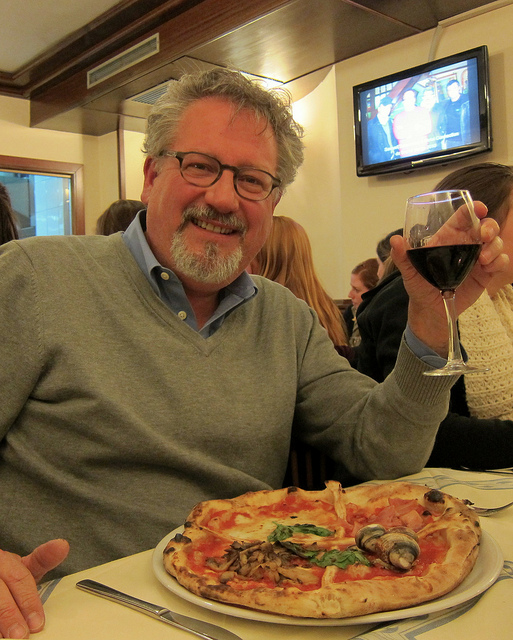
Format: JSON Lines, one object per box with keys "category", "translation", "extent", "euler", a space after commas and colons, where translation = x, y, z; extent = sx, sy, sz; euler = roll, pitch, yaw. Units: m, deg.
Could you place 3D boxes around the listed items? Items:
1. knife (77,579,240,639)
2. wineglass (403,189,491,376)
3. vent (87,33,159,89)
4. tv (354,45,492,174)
{"category": "knife", "translation": [-0.088, 0.266, 0.503], "extent": [0.175, 0.006, 0.027], "euler": [3, 12, 32]}
{"category": "wineglass", "translation": [0.252, -0.040, 0.805], "extent": [0.106, 0.269, 0.112], "euler": [3, 4, -15]}
{"category": "vent", "translation": [-0.927, -1.772, 3.804], "extent": [0.784, 0.142, 0.090], "euler": [-1, 7, 41]}
{"category": "tv", "translation": [1.104, -1.342, 3.689], "extent": [0.111, 0.658, 1.050], "euler": [-17, 15, -37]}
